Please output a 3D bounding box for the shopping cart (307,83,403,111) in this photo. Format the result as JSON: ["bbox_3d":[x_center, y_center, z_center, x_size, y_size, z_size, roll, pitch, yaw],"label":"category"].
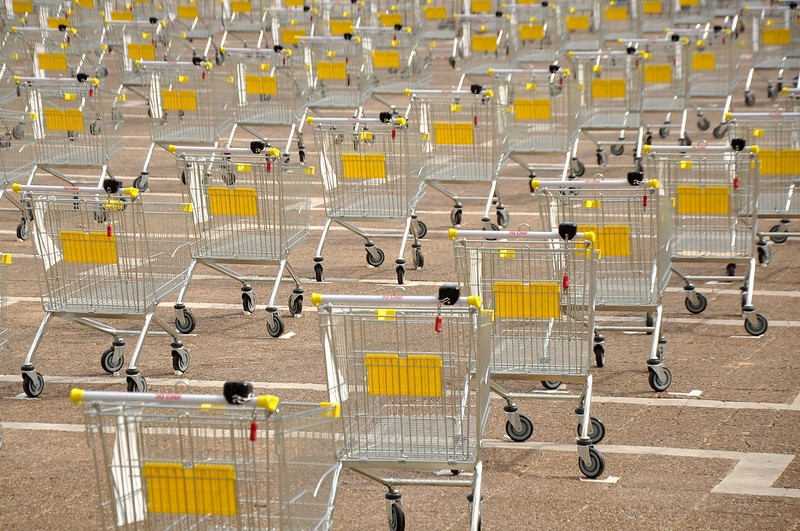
[{"bbox_3d":[-0.982,-2.782,18.932,0.965,0.426,0.643,-2,11,-4],"label":"shopping cart"}]

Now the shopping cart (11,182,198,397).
[{"bbox_3d":[-2.997,0.133,12.227,1.599,2.166,2.135,0,11,8],"label":"shopping cart"}]

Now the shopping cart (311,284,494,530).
[{"bbox_3d":[0.075,1.102,10.065,1.380,2.154,1.749,-1,11,4],"label":"shopping cart"}]

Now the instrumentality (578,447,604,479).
[{"bbox_3d":[1.664,1.740,10.336,0.204,0.227,0.090,-26,-14,21],"label":"instrumentality"}]

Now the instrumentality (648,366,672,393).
[{"bbox_3d":[2.549,1.099,11.572,0.236,0.252,0.143,-1,11,1],"label":"instrumentality"}]
